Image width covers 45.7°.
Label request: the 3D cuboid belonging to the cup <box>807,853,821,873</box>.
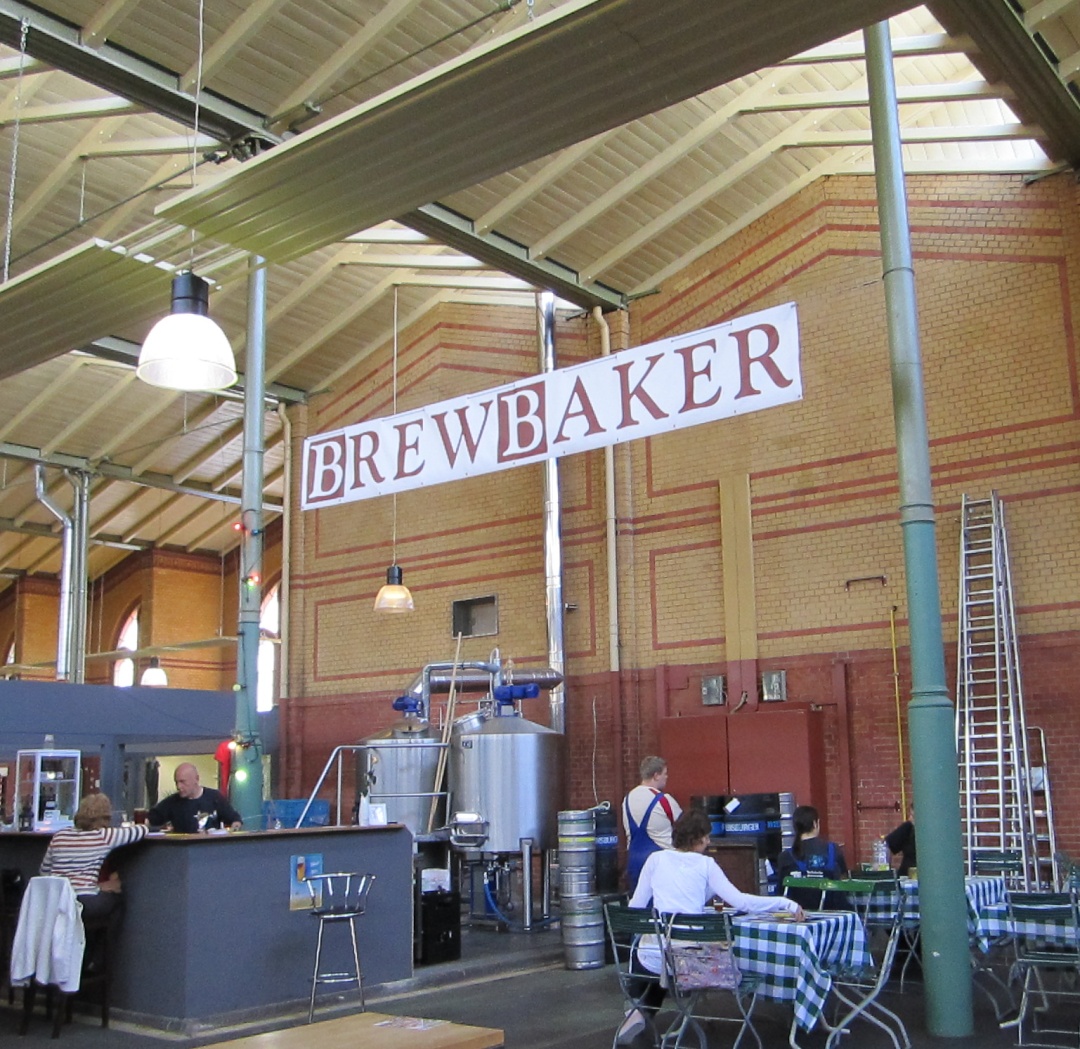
[{"bbox_3d":[2.016,2.481,9.430,0.087,0.119,0.074,-5,-15,9],"label":"cup"}]

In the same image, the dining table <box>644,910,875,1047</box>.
[{"bbox_3d":[1.371,2.560,7.578,0.960,0.439,0.928,-5,-15,27],"label":"dining table"}]

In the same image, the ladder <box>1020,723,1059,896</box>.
[{"bbox_3d":[5.065,2.807,13.001,0.328,1.582,0.775,-8,-16,19],"label":"ladder"}]

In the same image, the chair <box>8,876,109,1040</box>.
[{"bbox_3d":[-3.389,3.030,9.120,0.689,1.065,0.974,-1,-14,-7],"label":"chair"}]

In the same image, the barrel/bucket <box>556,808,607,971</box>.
[{"bbox_3d":[0.367,3.250,11.527,0.370,1.332,0.890,-3,-15,1],"label":"barrel/bucket"}]

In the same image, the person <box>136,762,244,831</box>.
[{"bbox_3d":[-3.025,2.466,11.008,0.930,0.782,0.501,-4,-2,4],"label":"person"}]
